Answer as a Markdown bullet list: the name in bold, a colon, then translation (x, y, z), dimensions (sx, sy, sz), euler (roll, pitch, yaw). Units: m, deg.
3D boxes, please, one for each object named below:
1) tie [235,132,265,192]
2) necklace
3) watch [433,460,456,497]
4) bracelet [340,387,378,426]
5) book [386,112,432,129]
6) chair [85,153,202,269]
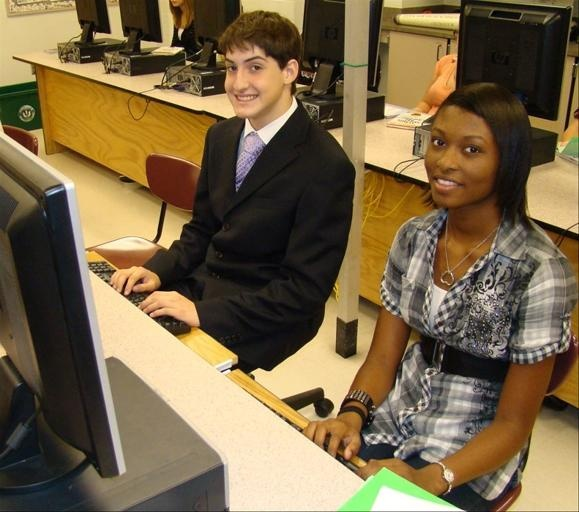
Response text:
- **tie**: translation (-0.157, -0.355, 1.710), dimensions (0.047, 0.210, 0.125), euler (12, 9, -31)
- **necklace**: translation (0.458, -0.010, 1.148), dimensions (0.016, 0.159, 0.128), euler (20, 15, -48)
- **watch**: translation (0.329, 0.491, 1.003), dimensions (0.024, 0.060, 0.057), euler (-15, 59, -37)
- **bracelet**: translation (0.186, 0.390, 1.200), dimensions (0.093, 0.089, 0.085), euler (11, 23, 28)
- **book**: translation (0.721, -0.822, 2.776), dimensions (0.218, 0.055, 0.237), euler (5, 27, 22)
- **chair**: translation (-0.920, -0.287, 2.891), dimensions (0.525, 0.829, 0.570), euler (31, 23, 11)
